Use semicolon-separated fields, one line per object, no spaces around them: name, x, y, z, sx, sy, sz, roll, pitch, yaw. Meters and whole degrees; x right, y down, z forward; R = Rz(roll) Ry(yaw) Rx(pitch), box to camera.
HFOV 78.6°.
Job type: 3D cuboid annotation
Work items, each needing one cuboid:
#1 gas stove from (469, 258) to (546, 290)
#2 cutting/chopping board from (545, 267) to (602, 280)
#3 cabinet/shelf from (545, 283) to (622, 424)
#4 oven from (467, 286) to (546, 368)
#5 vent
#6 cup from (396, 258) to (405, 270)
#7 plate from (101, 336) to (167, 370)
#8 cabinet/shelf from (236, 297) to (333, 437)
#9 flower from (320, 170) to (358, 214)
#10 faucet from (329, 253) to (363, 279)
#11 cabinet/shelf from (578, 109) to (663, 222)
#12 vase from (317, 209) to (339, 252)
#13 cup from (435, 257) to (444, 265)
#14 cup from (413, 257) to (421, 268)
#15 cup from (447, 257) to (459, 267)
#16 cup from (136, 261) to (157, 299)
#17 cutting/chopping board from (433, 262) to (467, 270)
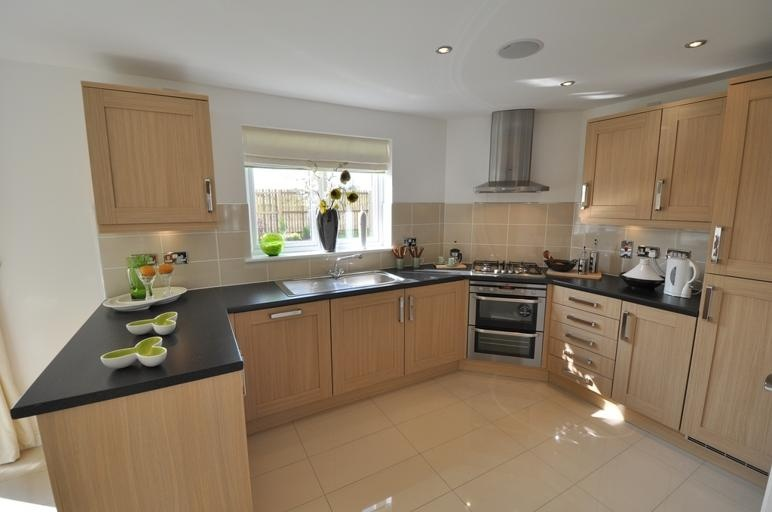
gas stove;1.328;0.192;5.098;0.781;0.189;0.709;1;9;15
cutting/chopping board;1.939;0.193;4.839;0.562;0.069;0.285;0;8;7
cabinet/shelf;2.121;0.903;4.711;0.636;1.146;0.707;-11;17;-36
oven;1.339;0.707;5.109;0.765;0.854;0.653;3;6;22
vent;1.378;-1.090;5.354;0.867;0.782;0.487;2;1;14
cup;0.158;0.090;5.234;0.094;0.123;0.133;-2;9;0
plate;-1.703;0.693;3.220;0.359;0.104;0.456;-17;-6;-37
cabinet/shelf;-1.039;0.897;4.515;0.912;1.119;0.802;-5;13;-19
flower;-0.479;-0.682;5.018;0.517;0.442;0.299;-5;10;-21
faucet;-0.395;0.106;4.934;0.341;0.189;0.188;-9;17;-20
cabinet/shelf;2.234;-0.843;4.650;0.679;1.045;0.545;-4;19;4
vase;-0.598;-0.246;4.973;0.261;0.408;0.252;-5;-8;9
cup;0.645;0.057;5.526;0.113;0.106;0.063;1;4;-4
cup;0.353;0.077;5.336;0.103;0.103;0.096;0;10;0
cup;0.759;0.074;5.307;0.121;0.098;0.073;0;3;-6
cup;-1.980;0.212;3.940;0.125;0.286;0.220;-7;11;-26
cutting/chopping board;0.731;0.116;5.284;0.363;0.045;0.303;0;8;7
